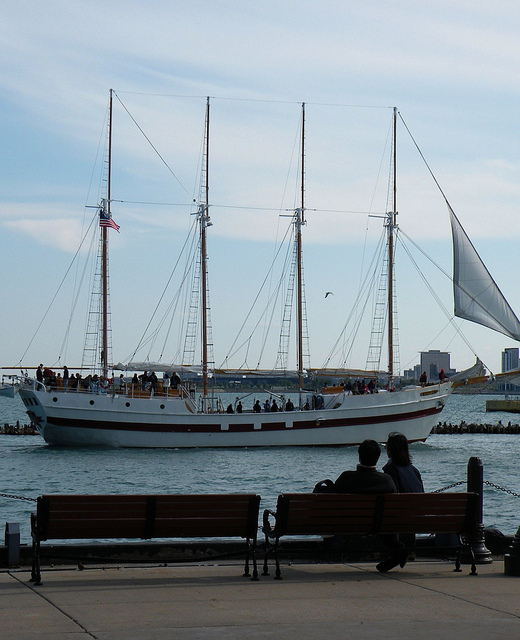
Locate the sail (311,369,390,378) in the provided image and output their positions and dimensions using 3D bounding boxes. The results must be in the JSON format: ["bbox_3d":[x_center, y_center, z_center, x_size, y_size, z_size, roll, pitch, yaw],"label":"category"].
[{"bbox_3d":[3.883,2.402,62.699,3.547,0.405,3.859,-1,-3,8],"label":"sail"}]

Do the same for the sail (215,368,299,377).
[{"bbox_3d":[-0.107,2.457,64.236,3.725,0.312,2.285,0,-3,-5],"label":"sail"}]

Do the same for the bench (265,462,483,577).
[{"bbox_3d":[1.402,2.489,17.504,2.500,1.286,0.775,2,0,-20],"label":"bench"}]

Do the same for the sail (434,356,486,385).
[{"bbox_3d":[8.765,2.217,60.738,2.042,1.092,0.946,-3,-4,44],"label":"sail"}]

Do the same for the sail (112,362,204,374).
[{"bbox_3d":[-4.062,2.156,62.539,4.450,0.398,3.371,1,-3,-23],"label":"sail"}]

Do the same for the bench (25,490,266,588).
[{"bbox_3d":[-1.306,2.587,16.632,2.536,1.107,0.875,-1,-4,-2],"label":"bench"}]

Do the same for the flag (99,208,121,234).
[{"bbox_3d":[-6.736,-4.437,63.604,0.759,0.793,1.146,0,-3,-8],"label":"flag"}]

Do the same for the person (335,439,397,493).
[{"bbox_3d":[1.308,1.816,17.560,0.773,0.720,0.405,3,11,-11],"label":"person"}]
